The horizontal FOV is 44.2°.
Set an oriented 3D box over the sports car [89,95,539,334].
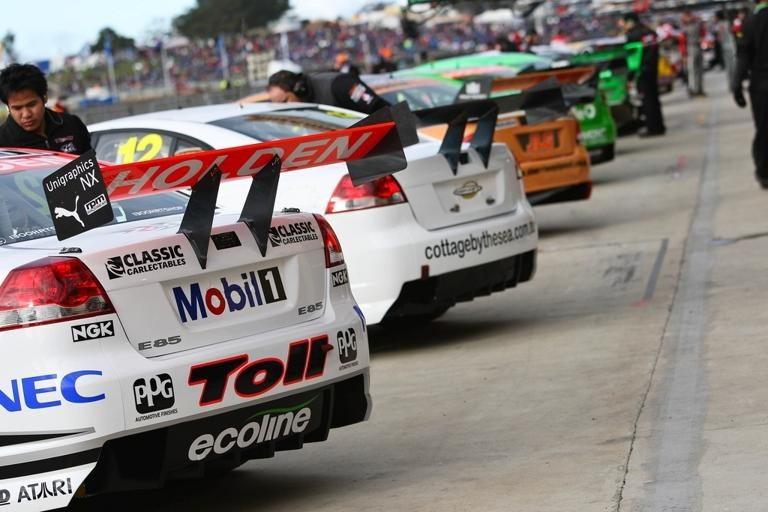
[{"bbox_3d":[-1.963,-0.395,8.928,6.330,1.854,2.597,1,9,33],"label":"sports car"}]
